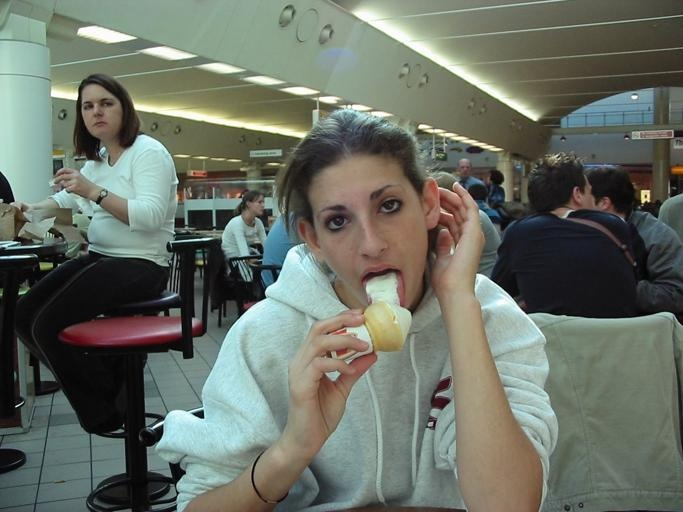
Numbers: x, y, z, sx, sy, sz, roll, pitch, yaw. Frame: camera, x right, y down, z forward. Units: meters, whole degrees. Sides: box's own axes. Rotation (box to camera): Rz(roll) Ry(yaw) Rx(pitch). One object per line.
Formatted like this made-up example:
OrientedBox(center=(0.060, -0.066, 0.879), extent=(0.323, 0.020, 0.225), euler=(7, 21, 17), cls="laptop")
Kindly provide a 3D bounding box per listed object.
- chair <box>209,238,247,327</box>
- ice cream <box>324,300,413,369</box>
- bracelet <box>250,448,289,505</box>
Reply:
OrientedBox(center=(-1.616, 0.362, 7.049), extent=(0.567, 0.926, 0.604), euler=(1, 0, -39), cls="chair")
OrientedBox(center=(0.066, 0.171, 1.253), extent=(0.163, 0.114, 0.105), euler=(-15, -35, -10), cls="ice cream")
OrientedBox(center=(-0.169, 0.514, 1.244), extent=(0.076, 0.124, 0.053), euler=(2, 5, 13), cls="bracelet")
